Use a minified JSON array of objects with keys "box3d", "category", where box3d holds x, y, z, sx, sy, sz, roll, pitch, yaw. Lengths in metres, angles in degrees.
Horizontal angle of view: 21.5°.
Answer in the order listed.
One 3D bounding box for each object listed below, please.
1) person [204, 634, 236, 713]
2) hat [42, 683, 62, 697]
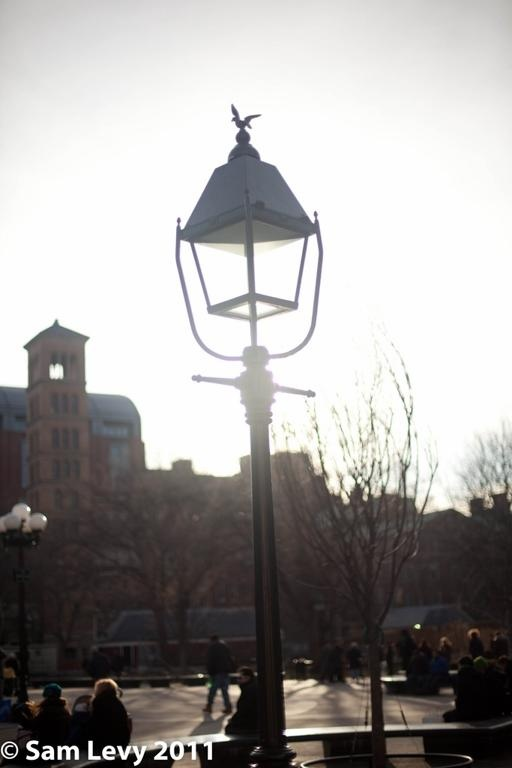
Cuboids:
[{"box3d":[-0.739,5.453,25.614,0.441,1.625,0.442,-4,18,-5],"category":"person"},{"box3d":[-2.326,3.467,15.345,0.180,0.169,0.290,2,-10,-10],"category":"hat"}]
